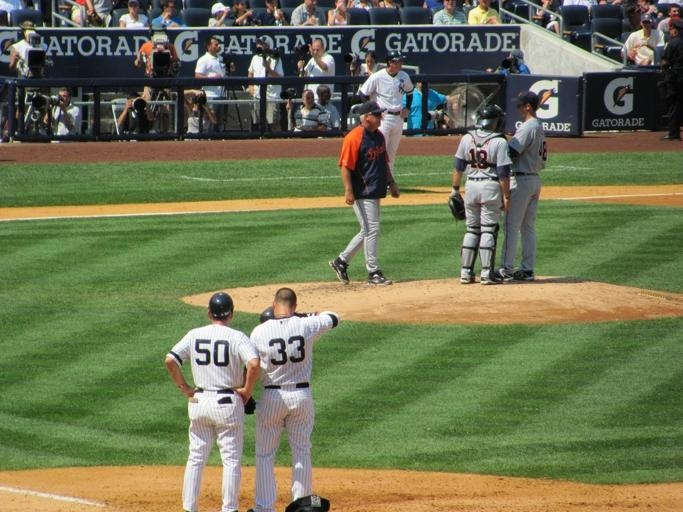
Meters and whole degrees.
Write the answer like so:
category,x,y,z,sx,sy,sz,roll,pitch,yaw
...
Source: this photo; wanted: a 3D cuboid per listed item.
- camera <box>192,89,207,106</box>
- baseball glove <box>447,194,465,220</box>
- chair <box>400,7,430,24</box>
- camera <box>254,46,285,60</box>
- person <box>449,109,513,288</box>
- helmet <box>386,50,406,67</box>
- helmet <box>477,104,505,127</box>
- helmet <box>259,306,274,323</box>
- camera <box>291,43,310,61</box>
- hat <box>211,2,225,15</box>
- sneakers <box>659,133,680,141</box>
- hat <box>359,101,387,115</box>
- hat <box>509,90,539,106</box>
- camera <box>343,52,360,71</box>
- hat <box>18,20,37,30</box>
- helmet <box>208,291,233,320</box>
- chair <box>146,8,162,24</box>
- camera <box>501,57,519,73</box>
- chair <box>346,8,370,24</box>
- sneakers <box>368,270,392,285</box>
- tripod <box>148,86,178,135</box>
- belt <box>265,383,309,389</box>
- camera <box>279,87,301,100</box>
category,x,y,z,sx,sy,sz,roll,pitch,yaw
camera,-3.014,-3.377,38.080,0.321,0.315,0.220,0,5,-18
baseball glove,1.784,-0.796,27.548,0.194,0.429,0.173,-17,-7,4
chair,1.804,-5.863,43.614,0.458,0.611,0.518,-3,14,-14
camera,-1.589,-4.475,39.264,0.398,0.165,0.395,5,-5,-35
person,2.134,-0.900,27.147,0.802,2.736,0.916,1,5,-9
helmet,0.926,-3.402,31.125,0.351,0.211,0.269,-5,18,19
helmet,2.320,-2.106,27.131,0.468,0.434,0.382,4,7,-4
helmet,-0.942,0.749,22.974,0.212,0.156,0.167,-28,-17,-21
camera,-0.895,-4.543,39.930,0.438,0.461,0.430,3,30,-2
hat,-2.917,-5.856,42.246,0.277,0.144,0.388,-22,15,-26
sneakers,7.136,-2.541,38.591,0.409,0.191,0.181,7,3,3
hat,0.445,-2.234,27.159,0.286,0.165,0.206,2,18,-1
hat,2.833,-2.364,27.209,0.322,0.200,0.246,6,18,10
camera,0.248,-4.266,39.055,0.286,0.187,0.690,-7,-4,5
hat,-6.856,-5.006,38.883,0.363,0.242,0.480,-1,11,-1
helmet,-1.538,0.629,22.816,0.271,0.365,0.344,3,31,-1
chair,-4.417,-5.659,41.929,0.320,0.461,0.372,2,-8,-12
camera,3.774,-4.221,39.480,0.289,0.207,0.469,-3,1,8
chair,0.412,-5.776,43.183,0.413,0.551,0.461,-1,7,-9
sneakers,0.596,0.359,27.542,0.353,0.171,0.173,0,3,32
tripod,-3.822,-3.049,38.099,0.754,1.472,0.737,0,8,-6
belt,-0.700,1.657,22.756,0.565,0.103,0.121,1,5,-8
camera,-1.128,-3.476,38.430,0.256,0.168,0.265,-5,-1,38
